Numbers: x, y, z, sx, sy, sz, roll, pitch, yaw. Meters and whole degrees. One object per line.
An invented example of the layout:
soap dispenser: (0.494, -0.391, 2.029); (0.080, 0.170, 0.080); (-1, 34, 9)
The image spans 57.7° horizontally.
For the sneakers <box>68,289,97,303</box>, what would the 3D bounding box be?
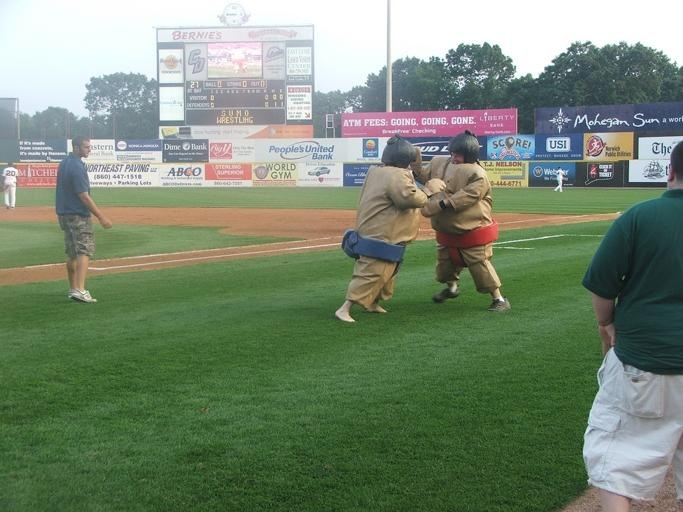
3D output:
sneakers: (-3.105, 0.485, 7.461); (0.424, 0.155, 0.140); (6, 17, -21)

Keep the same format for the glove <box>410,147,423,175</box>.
glove: (0.831, -1.045, 6.939); (0.112, 0.262, 0.205); (2, 17, -10)

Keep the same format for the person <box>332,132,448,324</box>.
person: (0.439, -0.292, 6.511); (0.823, 1.924, 1.031); (7, 12, 40)

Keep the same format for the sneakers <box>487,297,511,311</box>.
sneakers: (1.746, 0.539, 6.859); (0.109, 0.120, 0.292); (-3, -4, 31)

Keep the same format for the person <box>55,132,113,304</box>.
person: (-3.299, -0.484, 7.834); (0.568, 1.985, 1.326); (-5, 10, -24)

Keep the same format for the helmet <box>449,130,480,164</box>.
helmet: (1.363, -1.209, 6.921); (0.326, 0.353, 0.434); (1, 9, 9)

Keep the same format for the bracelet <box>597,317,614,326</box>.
bracelet: (1.146, 0.282, 2.691); (0.052, 0.024, 0.063); (-3, -9, 4)

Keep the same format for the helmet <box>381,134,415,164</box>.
helmet: (0.545, -1.151, 6.610); (0.381, 0.295, 0.257); (-11, 28, -17)
